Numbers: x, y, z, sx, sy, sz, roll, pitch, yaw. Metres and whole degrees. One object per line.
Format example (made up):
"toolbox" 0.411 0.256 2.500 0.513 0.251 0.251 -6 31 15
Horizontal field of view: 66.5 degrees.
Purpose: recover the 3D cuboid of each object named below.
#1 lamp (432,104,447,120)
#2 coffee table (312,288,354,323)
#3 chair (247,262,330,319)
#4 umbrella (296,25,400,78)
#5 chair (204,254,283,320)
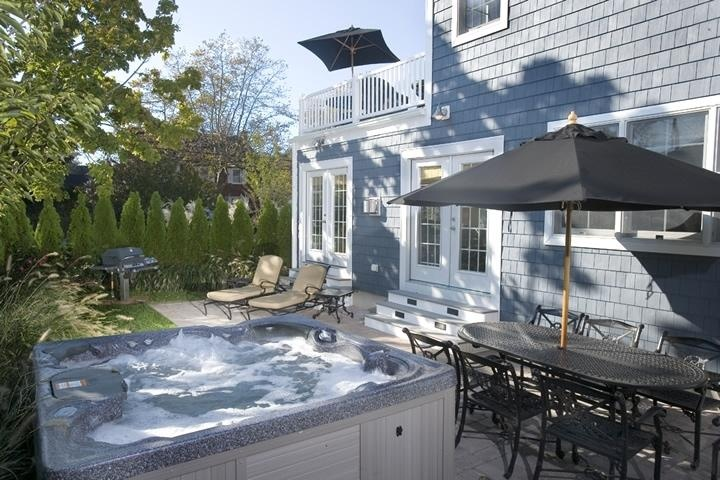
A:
"lamp" 1.378 -2.231 9.543 0.297 0.231 0.140 5 9 43
"coffee table" -0.458 1.225 10.241 0.857 0.562 0.916 -8 -7 36
"chair" -1.263 0.921 9.772 0.838 0.940 1.539 3 4 27
"umbrella" -0.170 -4.387 12.426 1.604 0.855 1.568 6 -15 -33
"chair" -2.113 0.827 10.108 0.821 0.981 1.436 2 4 40
